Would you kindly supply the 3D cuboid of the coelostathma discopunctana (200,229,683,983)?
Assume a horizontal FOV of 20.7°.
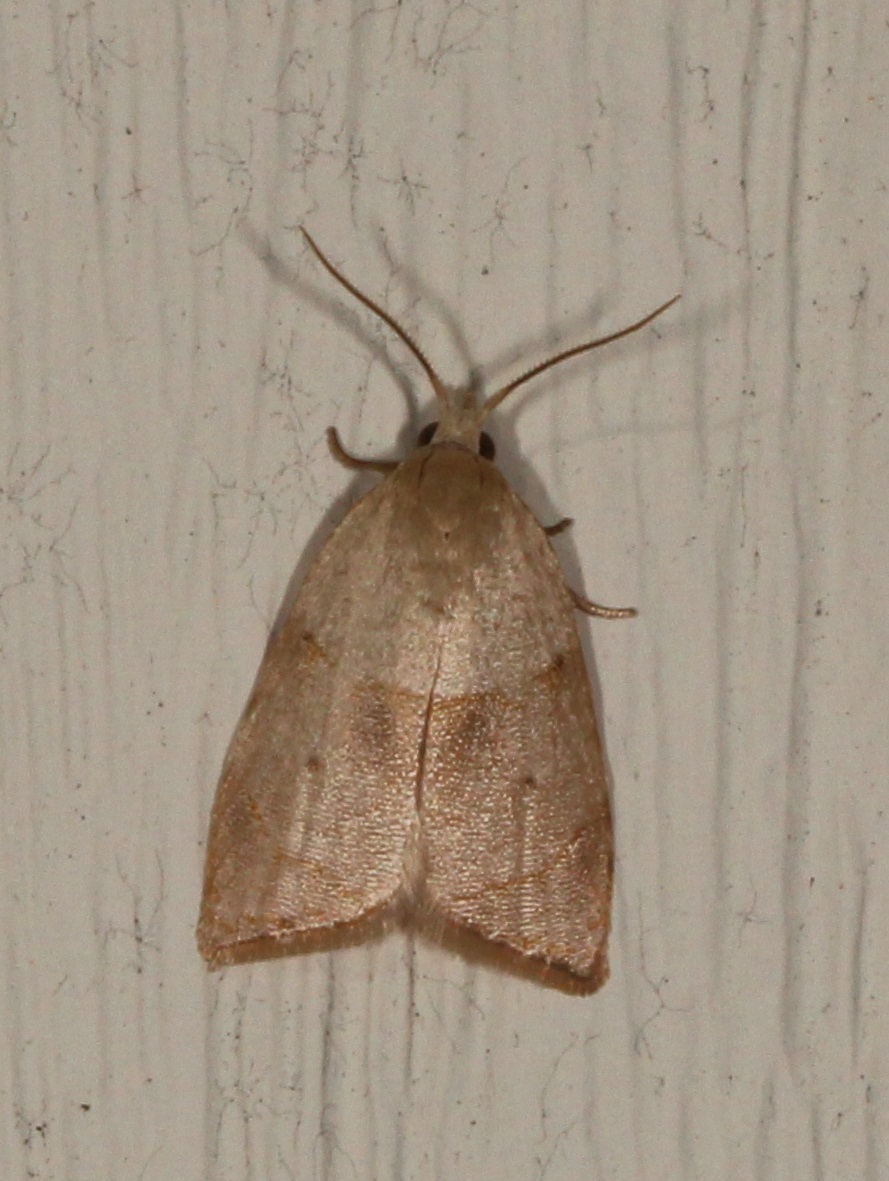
[{"bbox_3d":[-0.058,0.209,4.065,0.698,0.286,0.829,3,79,-2],"label":"coelostathma discopunctana"}]
